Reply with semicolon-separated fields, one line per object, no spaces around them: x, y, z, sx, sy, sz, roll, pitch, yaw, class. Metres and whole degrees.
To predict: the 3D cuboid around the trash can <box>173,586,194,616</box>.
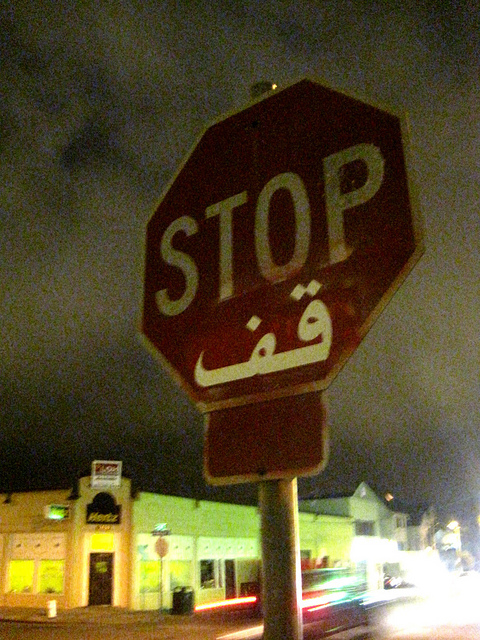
-1.886;10.045;22.177;0.845;0.908;0.814;0;-29;-1;trash can

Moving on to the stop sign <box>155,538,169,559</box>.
-2.765;7.897;21.584;0.358;0.589;0.924;2;-19;-11;stop sign

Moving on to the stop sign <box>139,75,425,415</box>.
0.125;-0.221;1.915;0.021;0.860;1.015;21;-38;-40;stop sign

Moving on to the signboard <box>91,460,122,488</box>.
-5.388;6.190;24.874;1.157;1.029;0.302;5;-20;-19;signboard

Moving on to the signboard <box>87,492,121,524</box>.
-5.417;7.385;24.283;1.392;1.538;0.163;0;-36;-11;signboard
